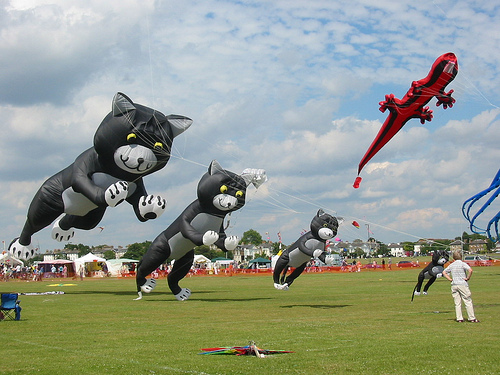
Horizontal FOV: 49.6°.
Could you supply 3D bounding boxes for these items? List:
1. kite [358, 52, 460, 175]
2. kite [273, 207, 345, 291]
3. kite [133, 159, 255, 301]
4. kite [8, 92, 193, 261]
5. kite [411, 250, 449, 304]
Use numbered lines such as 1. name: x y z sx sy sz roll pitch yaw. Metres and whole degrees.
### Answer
1. kite: 5.207 -2.712 16.382 1.686 4.140 0.592 36 13 -43
2. kite: 2.532 2.584 22.519 1.509 3.315 2.956 8 -8 -40
3. kite: -2.990 2.283 22.420 7.050 4.704 2.568 -25 -37 38
4. kite: -5.134 -0.121 20.276 7.607 5.056 3.257 -22 -31 35
5. kite: 6.994 3.622 21.405 0.670 1.265 2.958 15 -37 -1
